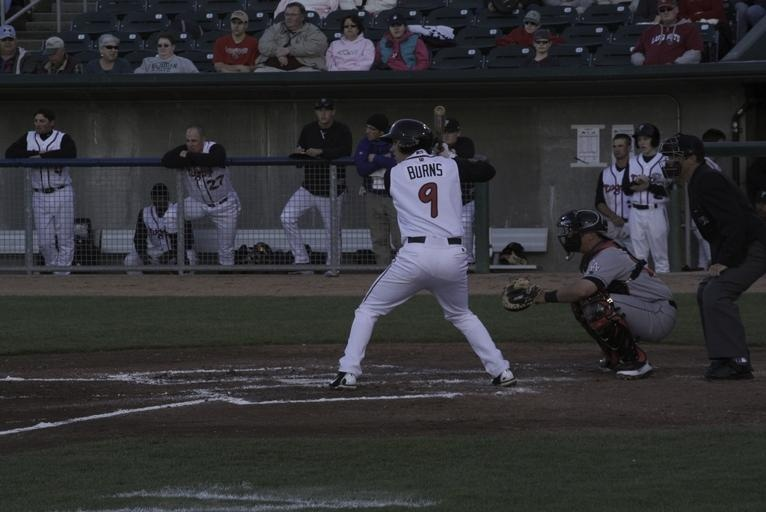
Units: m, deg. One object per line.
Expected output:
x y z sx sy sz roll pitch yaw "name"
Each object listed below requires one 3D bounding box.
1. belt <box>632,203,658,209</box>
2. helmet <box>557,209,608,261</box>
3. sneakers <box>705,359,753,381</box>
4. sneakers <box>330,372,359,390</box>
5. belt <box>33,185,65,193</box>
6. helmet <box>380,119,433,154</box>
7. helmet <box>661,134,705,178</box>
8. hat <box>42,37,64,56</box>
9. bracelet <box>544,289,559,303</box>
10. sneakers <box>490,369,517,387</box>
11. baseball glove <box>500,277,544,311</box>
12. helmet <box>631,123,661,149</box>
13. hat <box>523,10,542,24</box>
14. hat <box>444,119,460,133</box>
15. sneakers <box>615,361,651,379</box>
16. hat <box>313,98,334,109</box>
3.422 -0.649 21.424 0.319 0.069 0.067 0 4 7 "belt"
2.062 -0.257 17.057 0.612 0.499 0.446 7 4 10 "helmet"
3.532 1.168 16.764 0.513 0.191 0.201 2 3 4 "sneakers"
-0.391 1.239 16.479 0.300 0.189 0.241 -1 4 -9 "sneakers"
-4.397 -0.880 21.595 0.382 0.107 0.071 -1 4 -15 "belt"
0.235 -1.232 16.647 0.458 0.263 0.316 -10 12 -1 "helmet"
3.036 -1.032 16.710 0.526 0.404 0.377 2 1 7 "helmet"
-4.657 -2.980 23.170 0.384 0.228 0.481 4 13 7 "hat"
1.698 0.413 16.674 0.137 0.112 0.133 -9 15 -32 "bracelet"
1.220 1.228 16.495 0.303 0.123 0.127 0 4 9 "sneakers"
1.449 0.416 16.751 0.408 0.162 0.291 -18 42 -2 "baseball glove"
3.482 -1.597 21.571 0.450 0.312 0.308 -10 5 -37 "helmet"
2.201 -3.531 24.183 0.199 0.134 0.292 12 11 17 "hat"
0.886 -1.654 20.861 0.260 0.161 0.341 3 2 18 "hat"
2.568 1.166 16.830 0.409 0.167 0.137 1 -2 -23 "sneakers"
-0.778 -2.020 21.642 0.305 0.124 0.409 0 4 5 "hat"
